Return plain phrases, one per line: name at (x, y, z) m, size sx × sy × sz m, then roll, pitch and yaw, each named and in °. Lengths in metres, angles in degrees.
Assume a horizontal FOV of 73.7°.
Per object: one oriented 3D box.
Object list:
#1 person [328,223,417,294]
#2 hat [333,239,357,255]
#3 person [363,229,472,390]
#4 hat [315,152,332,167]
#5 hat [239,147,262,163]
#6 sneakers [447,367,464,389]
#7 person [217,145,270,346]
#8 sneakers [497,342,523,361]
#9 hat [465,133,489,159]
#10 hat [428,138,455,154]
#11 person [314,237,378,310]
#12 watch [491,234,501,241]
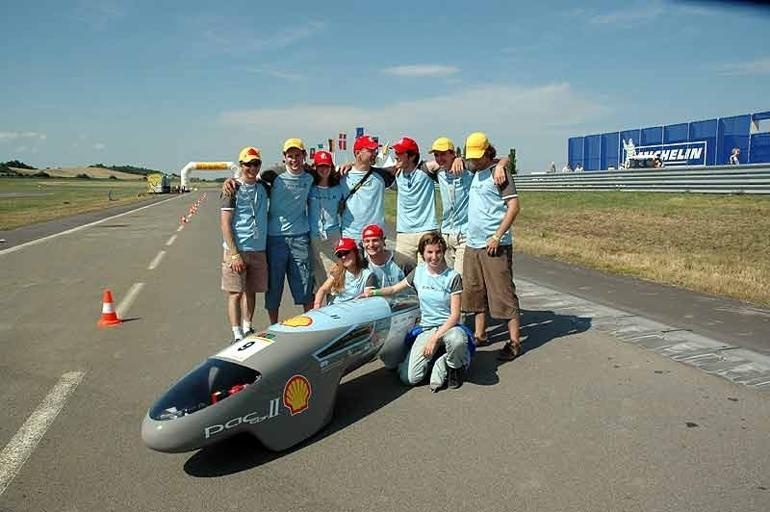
person at (-0.006, 0.010, 6.474) m, size 0.863 × 1.148 × 0.759 m, roll -4°, pitch 8°, yaw 21°
hat at (-0.461, -0.107, 6.097) m, size 0.276 × 0.209 × 0.177 m, roll -1°, pitch 14°, yaw 1°
person at (0.486, 0.612, 5.762) m, size 0.893 × 1.607 × 0.833 m, roll -7°, pitch 15°, yaw -21°
hat at (-0.804, -1.265, 6.683) m, size 0.241 × 0.195 × 0.378 m, roll -2°, pitch 14°, yaw -6°
hat at (-1.676, -1.222, 6.299) m, size 0.284 × 0.167 × 0.125 m, roll 1°, pitch 14°, yaw 9°
sneakers at (0.770, 1.343, 5.676) m, size 0.165 × 0.204 × 0.506 m, roll -2°, pitch -8°, yaw 7°
person at (-1.763, -0.137, 6.532) m, size 0.649 × 2.381 × 0.447 m, roll -6°, pitch 15°, yaw -19°
sneakers at (1.517, 1.176, 6.347) m, size 0.149 × 0.154 × 0.334 m, roll -2°, pitch -3°, yaw 33°
hat at (1.143, -1.350, 6.372) m, size 0.287 × 0.306 × 0.188 m, roll 2°, pitch 15°, yaw 10°
hat at (0.732, -1.389, 6.473) m, size 0.263 × 0.172 × 0.416 m, roll 0°, pitch 14°, yaw 5°
person at (-0.496, 0.276, 6.084) m, size 0.749 × 0.989 × 0.799 m, roll -7°, pitch 8°, yaw -37°
watch at (1.380, -0.225, 6.353) m, size 0.078 × 0.033 × 0.076 m, roll -8°, pitch 19°, yaw -35°
